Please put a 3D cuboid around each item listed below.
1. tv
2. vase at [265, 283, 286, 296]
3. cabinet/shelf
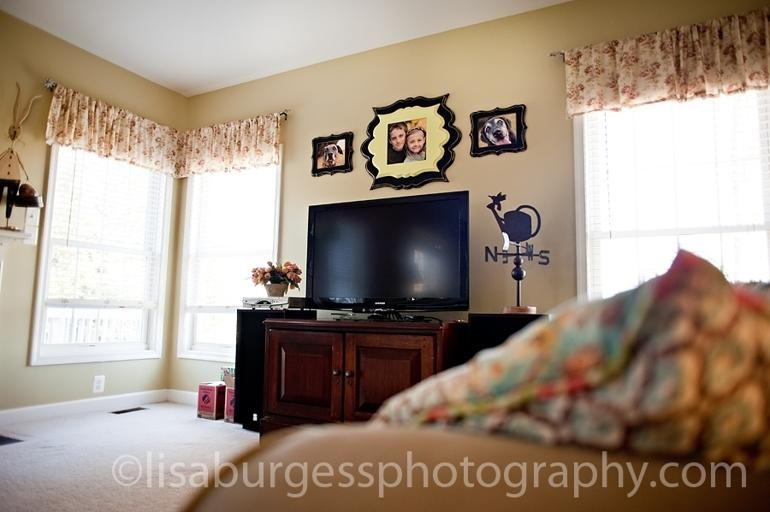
[{"bbox_3d":[0.002,-0.006,3.521,1.136,0.753,0.093,-3,-9,22],"label":"tv"},{"bbox_3d":[-0.781,0.247,3.877,0.110,0.068,0.109,-1,-6,4],"label":"vase"},{"bbox_3d":[-0.160,0.738,3.293,1.136,0.685,0.409,-2,-6,21],"label":"cabinet/shelf"}]
